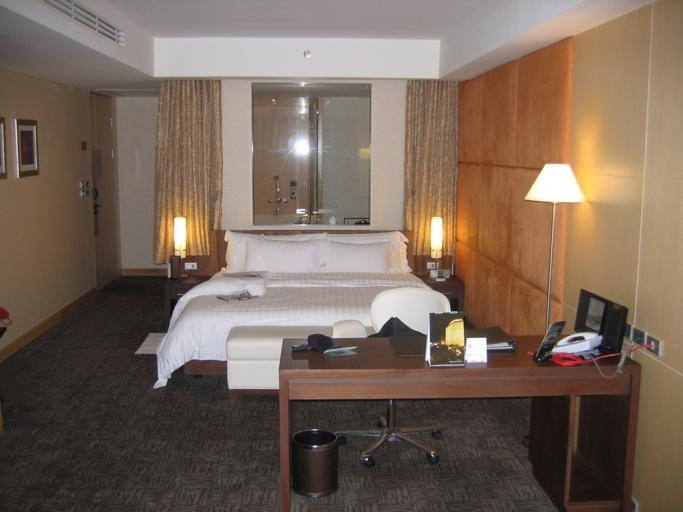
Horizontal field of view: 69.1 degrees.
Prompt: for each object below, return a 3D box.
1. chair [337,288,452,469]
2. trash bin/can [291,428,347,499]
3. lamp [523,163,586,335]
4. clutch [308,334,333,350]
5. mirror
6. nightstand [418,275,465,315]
[{"bbox_3d":[0.430,0.809,3.801,1.078,1.414,1.053,0,1,5],"label":"chair"},{"bbox_3d":[-0.127,1.269,3.115,0.376,0.331,0.290,-2,5,-35],"label":"trash bin/can"},{"bbox_3d":[1.537,-0.038,3.617,0.367,1.248,0.553,7,13,31],"label":"lamp"},{"bbox_3d":[-0.126,0.511,2.957,0.114,0.091,0.029,1,-28,3],"label":"clutch"},{"bbox_3d":[-0.424,-1.376,6.284,1.720,1.994,0.087,0,4,-2],"label":"mirror"},{"bbox_3d":[1.241,0.428,6.163,0.490,0.485,0.411,0,11,1],"label":"nightstand"}]
